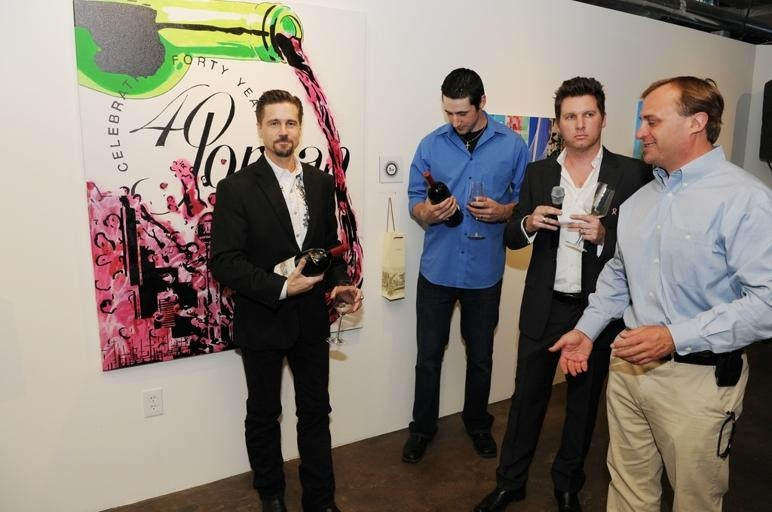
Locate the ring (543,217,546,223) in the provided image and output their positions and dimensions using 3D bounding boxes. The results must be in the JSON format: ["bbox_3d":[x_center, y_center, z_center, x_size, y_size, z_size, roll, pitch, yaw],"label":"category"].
[{"bbox_3d":[0.930,-0.209,3.246,0.016,0.024,0.006,9,17,42],"label":"ring"}]

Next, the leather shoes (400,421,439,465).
[{"bbox_3d":[0.230,1.389,4.038,0.150,0.154,0.359,5,9,21],"label":"leather shoes"}]

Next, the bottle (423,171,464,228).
[{"bbox_3d":[0.394,-0.380,3.741,0.225,0.411,0.331,0,13,12],"label":"bottle"}]

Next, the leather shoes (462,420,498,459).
[{"bbox_3d":[0.692,1.373,4.119,0.121,0.146,0.336,-5,13,-13],"label":"leather shoes"}]
